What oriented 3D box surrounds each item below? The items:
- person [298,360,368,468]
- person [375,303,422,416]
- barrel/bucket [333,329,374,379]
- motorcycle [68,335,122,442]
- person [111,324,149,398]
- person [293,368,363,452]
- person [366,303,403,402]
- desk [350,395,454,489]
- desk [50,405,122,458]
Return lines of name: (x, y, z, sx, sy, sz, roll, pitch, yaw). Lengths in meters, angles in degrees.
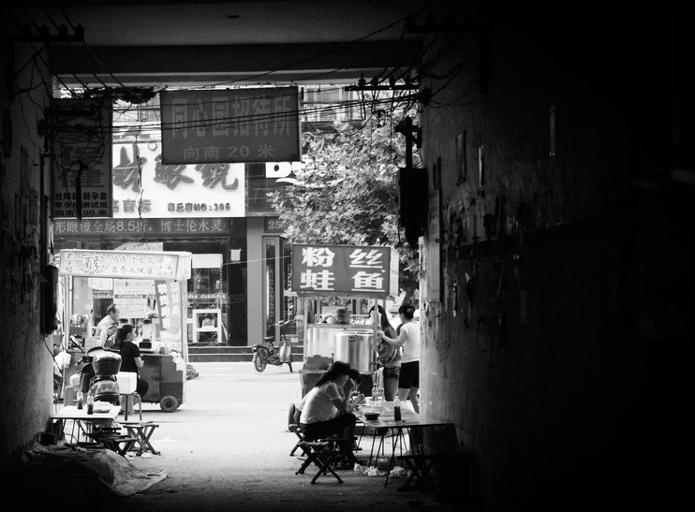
person: (-0.189, 2.167, 14.158, 0.756, 1.403, 0.860, 7, 3, -18)
person: (0.908, 1.741, 17.345, 0.546, 1.777, 0.572, 0, -1, -9)
barrel/bucket: (0.109, 1.570, 16.922, 0.495, 0.799, 0.516, -1, 0, 0)
motorcycle: (-4.013, 1.962, 15.611, 0.788, 1.336, 2.161, 0, -3, -9)
person: (-3.700, 1.807, 17.894, 0.571, 1.339, 0.595, 2, 0, -4)
person: (-0.270, 2.055, 14.068, 0.647, 1.233, 0.533, 1, -1, -21)
person: (0.654, 1.678, 17.972, 0.541, 1.659, 0.484, 2, 1, 31)
desk: (0.775, 2.465, 13.626, 0.923, 1.088, 1.063, 2, 1, 2)
desk: (-3.473, 2.348, 13.882, 0.508, 0.245, 0.991, 1, 3, -6)
